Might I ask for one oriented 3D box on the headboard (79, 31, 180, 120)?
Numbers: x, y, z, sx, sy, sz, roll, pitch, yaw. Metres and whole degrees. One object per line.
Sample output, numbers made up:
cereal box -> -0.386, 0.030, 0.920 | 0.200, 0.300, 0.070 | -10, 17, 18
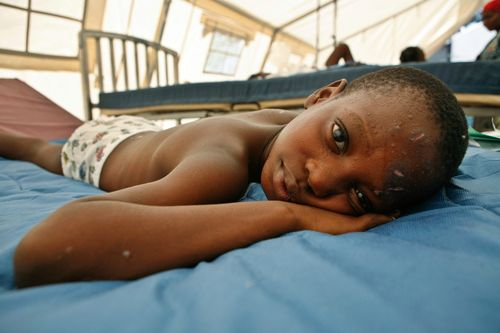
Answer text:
headboard -> -1.186, -0.988, 3.894 | 0.072, 0.703, 1.169 | 6, 11, 39

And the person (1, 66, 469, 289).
person -> -0.183, 0.068, 1.271 | 1.344, 0.387, 0.841 | -7, 11, 34
